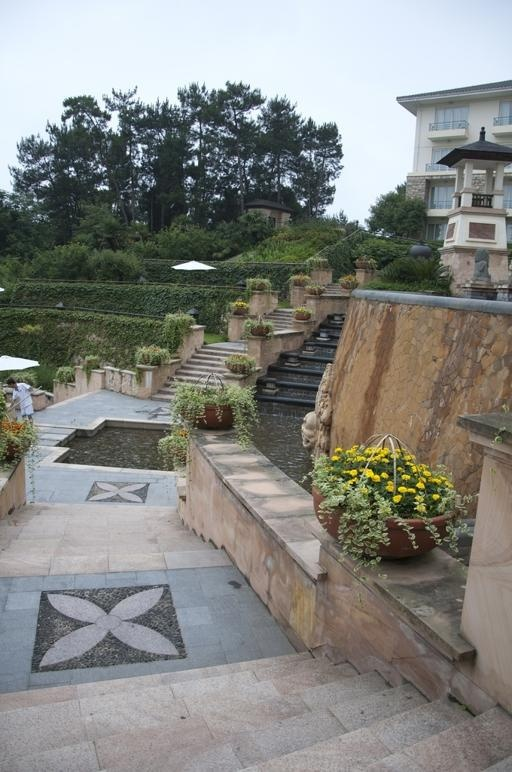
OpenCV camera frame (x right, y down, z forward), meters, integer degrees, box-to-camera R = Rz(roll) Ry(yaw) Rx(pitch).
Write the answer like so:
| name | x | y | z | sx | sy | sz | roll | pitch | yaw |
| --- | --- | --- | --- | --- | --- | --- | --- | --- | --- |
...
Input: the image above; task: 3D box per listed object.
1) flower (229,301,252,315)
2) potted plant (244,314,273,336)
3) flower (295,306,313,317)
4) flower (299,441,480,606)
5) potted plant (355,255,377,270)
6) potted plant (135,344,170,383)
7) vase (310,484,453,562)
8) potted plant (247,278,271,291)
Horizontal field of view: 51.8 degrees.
| name | x | y | z | sx | sy | sz | roll | pitch | yaw |
| --- | --- | --- | --- | --- | --- | --- | --- | --- | --- |
| flower | -0.607 | -2.922 | 19.625 | 0.599 | 0.322 | 0.587 | -3 | 18 | -22 |
| potted plant | 0.090 | -1.768 | 15.755 | 0.766 | 0.441 | 0.783 | -1 | 11 | -2 |
| flower | 1.637 | -2.534 | 17.813 | 0.540 | 0.285 | 0.523 | 2 | 10 | 3 |
| flower | 0.510 | 0.550 | 2.490 | 0.655 | 0.437 | 0.669 | -5 | 7 | -44 |
| potted plant | 4.807 | -5.323 | 23.167 | 0.940 | 0.691 | 1.026 | 0 | 12 | -2 |
| potted plant | -3.187 | -0.733 | 16.301 | 1.029 | 1.097 | 1.097 | -5 | 13 | -24 |
| vase | 0.575 | 0.619 | 2.394 | 0.585 | 0.375 | 0.407 | -7 | -13 | 5 |
| potted plant | 0.132 | -3.971 | 20.445 | 0.880 | 0.661 | 0.474 | -3 | -14 | -12 |
